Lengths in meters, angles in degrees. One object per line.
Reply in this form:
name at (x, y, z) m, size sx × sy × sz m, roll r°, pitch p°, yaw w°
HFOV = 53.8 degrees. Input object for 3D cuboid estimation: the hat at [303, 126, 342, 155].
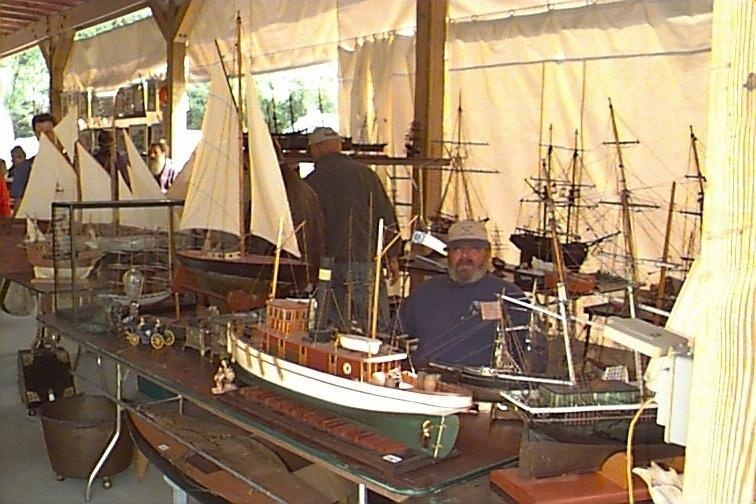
hat at (-0.524, -1.070, 7.145) m, size 0.255 × 0.315 × 0.303 m, roll -3°, pitch 12°, yaw -19°

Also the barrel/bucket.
barrel/bucket at (-2.600, 1.616, 6.690) m, size 0.810 × 0.613 × 0.680 m, roll 4°, pitch 6°, yaw 30°

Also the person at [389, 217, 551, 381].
person at (0.637, 0.359, 5.709) m, size 1.181 × 1.100 × 0.645 m, roll 2°, pitch 0°, yaw 15°
